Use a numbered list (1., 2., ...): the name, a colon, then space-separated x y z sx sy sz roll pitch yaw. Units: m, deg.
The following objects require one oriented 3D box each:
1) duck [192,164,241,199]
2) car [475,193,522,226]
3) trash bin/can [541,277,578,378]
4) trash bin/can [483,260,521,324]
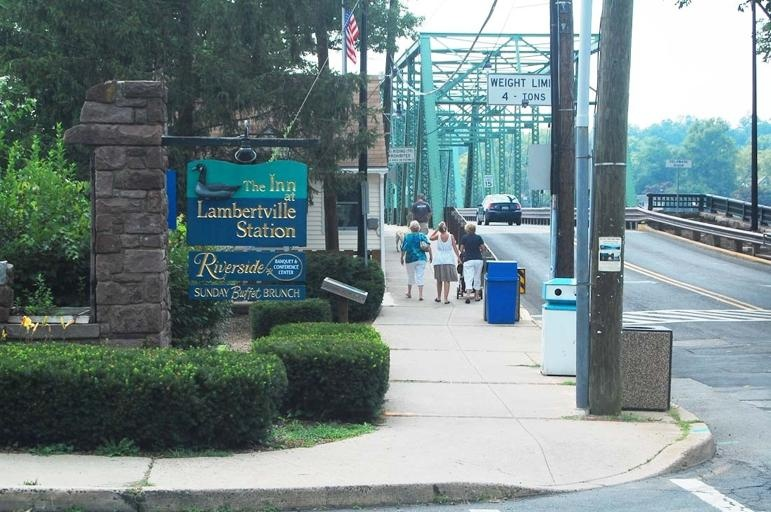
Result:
1. duck: -3.009 -1.215 22.237 1.049 0.761 0.382 2 -3 -1
2. car: 5.361 -2.064 58.189 1.585 1.338 1.707 -1 4 -5
3. trash bin/can: 3.257 1.351 23.723 0.620 1.814 0.388 -1 4 -1
4. trash bin/can: 2.666 0.848 28.924 0.798 1.443 0.818 -1 4 4
